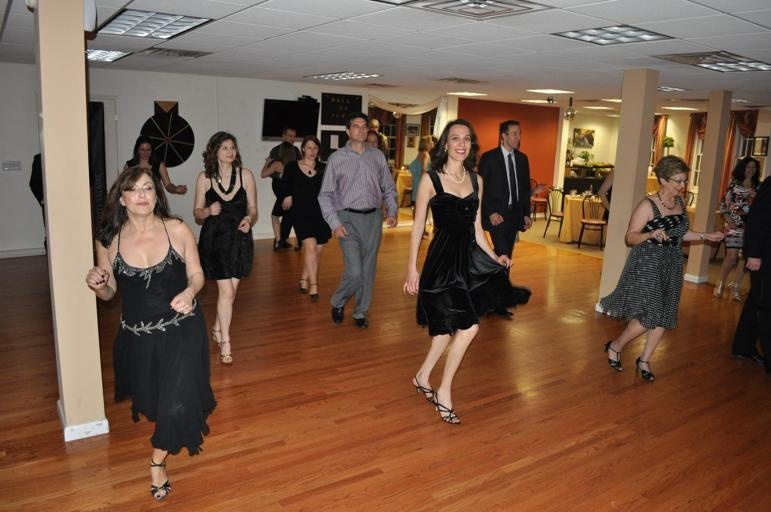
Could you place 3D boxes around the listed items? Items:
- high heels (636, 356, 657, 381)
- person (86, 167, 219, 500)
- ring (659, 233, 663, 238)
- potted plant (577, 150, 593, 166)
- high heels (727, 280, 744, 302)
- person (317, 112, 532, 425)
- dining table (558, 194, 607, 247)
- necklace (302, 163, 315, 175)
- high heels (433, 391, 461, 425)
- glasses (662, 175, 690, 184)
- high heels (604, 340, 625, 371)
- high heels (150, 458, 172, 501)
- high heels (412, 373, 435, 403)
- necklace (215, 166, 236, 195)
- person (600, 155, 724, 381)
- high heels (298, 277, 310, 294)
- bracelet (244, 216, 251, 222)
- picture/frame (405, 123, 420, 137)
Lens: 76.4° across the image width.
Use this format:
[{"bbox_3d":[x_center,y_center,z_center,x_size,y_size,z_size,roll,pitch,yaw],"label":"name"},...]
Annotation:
[{"bbox_3d":[2.631,1.141,4.975,0.106,0.162,0.309,-2,12,-8],"label":"high heels"},{"bbox_3d":[-1.504,0.360,3.154,0.707,1.800,0.537,7,14,29],"label":"person"},{"bbox_3d":[2.551,-0.187,4.513,0.031,0.012,0.037,-27,33,-27],"label":"ring"},{"bbox_3d":[6.773,-3.320,16.627,0.592,0.567,0.592,1,17,8],"label":"potted plant"},{"bbox_3d":[5.443,0.553,7.587,0.123,0.152,0.340,-4,39,8],"label":"high heels"},{"bbox_3d":[0.616,0.135,4.102,0.929,2.463,0.581,-1,12,-4],"label":"person"},{"bbox_3d":[4.419,-0.767,11.060,1.110,1.464,1.065,2,10,4],"label":"dining table"},{"bbox_3d":[-1.053,-1.157,6.587,0.175,0.163,0.168,7,3,7],"label":"necklace"},{"bbox_3d":[0.520,1.293,4.133,0.125,0.083,0.309,-12,33,-18],"label":"high heels"},{"bbox_3d":[2.707,-0.719,4.561,0.123,0.040,0.123,0,18,-13],"label":"glasses"},{"bbox_3d":[2.444,1.034,5.147,0.123,0.163,0.357,-2,29,-7],"label":"high heels"},{"bbox_3d":[-1.514,1.497,3.282,0.113,0.276,0.070,-8,-13,-35],"label":"high heels"},{"bbox_3d":[0.332,1.216,4.464,0.127,0.075,0.277,-9,49,-50],"label":"high heels"},{"bbox_3d":[-1.532,-0.708,4.720,0.188,0.265,0.064,-1,1,-25],"label":"necklace"},{"bbox_3d":[2.576,0.288,4.814,0.778,1.883,0.518,5,13,23],"label":"person"},{"bbox_3d":[-1.165,0.423,6.966,0.213,0.219,0.569,0,3,-14],"label":"high heels"},{"bbox_3d":[-1.338,-0.352,4.716,0.042,0.020,0.055,2,40,-10],"label":"bracelet"},{"bbox_3d":[0.843,-4.065,15.810,0.442,0.367,0.033,-3,9,-25],"label":"picture/frame"}]
